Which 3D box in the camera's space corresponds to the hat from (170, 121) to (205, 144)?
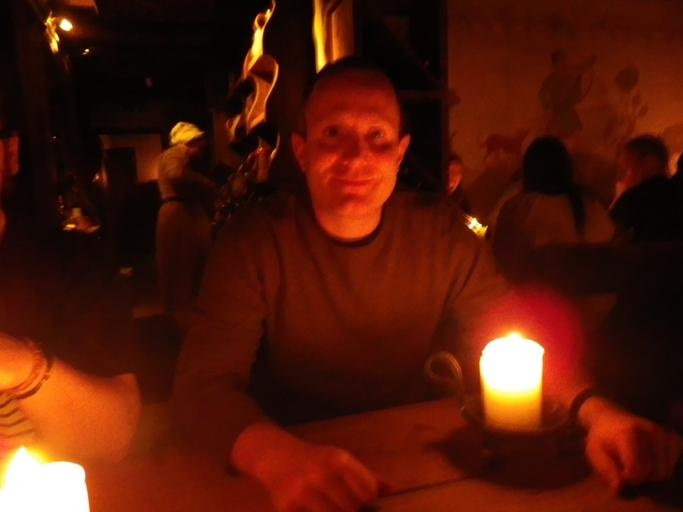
[{"bbox_3d":[-0.959,-0.777,4.145,0.171,0.102,0.156,-7,47,-31],"label":"hat"}]
